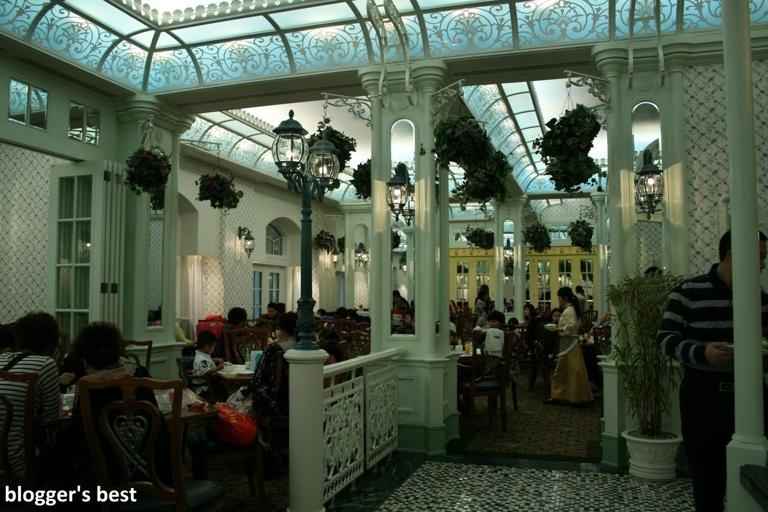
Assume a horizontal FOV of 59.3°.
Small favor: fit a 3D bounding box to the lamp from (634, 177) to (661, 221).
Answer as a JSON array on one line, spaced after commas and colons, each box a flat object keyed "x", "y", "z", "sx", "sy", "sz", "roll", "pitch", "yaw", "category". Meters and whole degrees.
[{"x": 3.215, "y": -0.774, "z": 8.144, "sx": 0.288, "sy": 0.466, "sz": 0.337, "roll": -3, "pitch": -11, "yaw": 7, "category": "lamp"}]

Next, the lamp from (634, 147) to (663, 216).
[{"x": 3.221, "y": -0.926, "z": 8.126, "sx": 0.286, "sy": 0.785, "sz": 0.295, "roll": -3, "pitch": 6, "yaw": -18, "category": "lamp"}]

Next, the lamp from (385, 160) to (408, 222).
[{"x": 0.154, "y": -0.808, "z": 8.510, "sx": 0.251, "sy": 0.653, "sz": 0.244, "roll": 3, "pitch": -7, "yaw": -20, "category": "lamp"}]

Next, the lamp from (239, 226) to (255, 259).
[{"x": -3.398, "y": -0.368, "z": 16.677, "sx": 0.303, "sy": 0.730, "sz": 0.548, "roll": -3, "pitch": -5, "yaw": 4, "category": "lamp"}]

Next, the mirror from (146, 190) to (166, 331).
[{"x": -3.413, "y": 0.058, "z": 10.066, "sx": 0.265, "sy": 1.933, "sz": 0.362, "roll": -1, "pitch": -6, "yaw": -19, "category": "mirror"}]

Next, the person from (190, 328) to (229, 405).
[{"x": -2.192, "y": 1.446, "z": 8.682, "sx": 0.561, "sy": 0.973, "sz": 0.551, "roll": 3, "pitch": 5, "yaw": -16, "category": "person"}]

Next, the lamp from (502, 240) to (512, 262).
[{"x": 4.132, "y": -0.228, "z": 22.548, "sx": 0.241, "sy": 0.731, "sz": 0.494, "roll": -4, "pitch": -5, "yaw": 12, "category": "lamp"}]

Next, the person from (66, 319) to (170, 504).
[{"x": -2.310, "y": 1.197, "z": 5.680, "sx": 0.722, "sy": 1.312, "sz": 1.225, "roll": 1, "pitch": -6, "yaw": -33, "category": "person"}]
